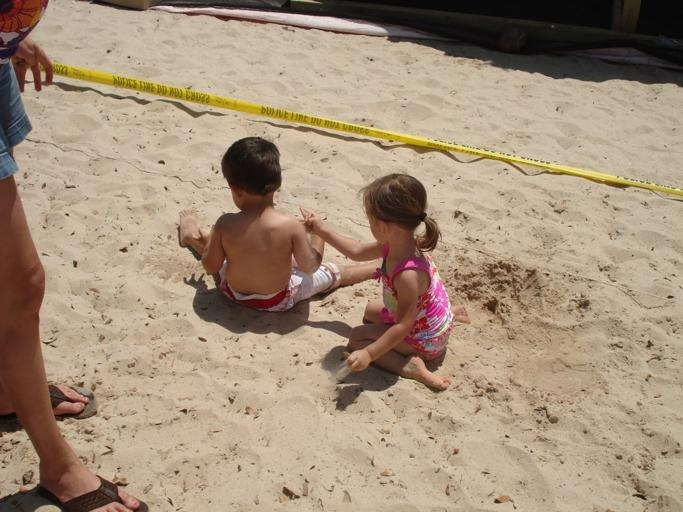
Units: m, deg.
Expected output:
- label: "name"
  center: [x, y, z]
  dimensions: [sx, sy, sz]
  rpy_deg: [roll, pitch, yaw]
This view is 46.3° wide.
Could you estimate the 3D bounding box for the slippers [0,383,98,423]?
- label: "slippers"
  center: [-1.765, 0.904, 4.905]
  dimensions: [0.609, 0.125, 0.195]
  rpy_deg: [-3, 35, -10]
